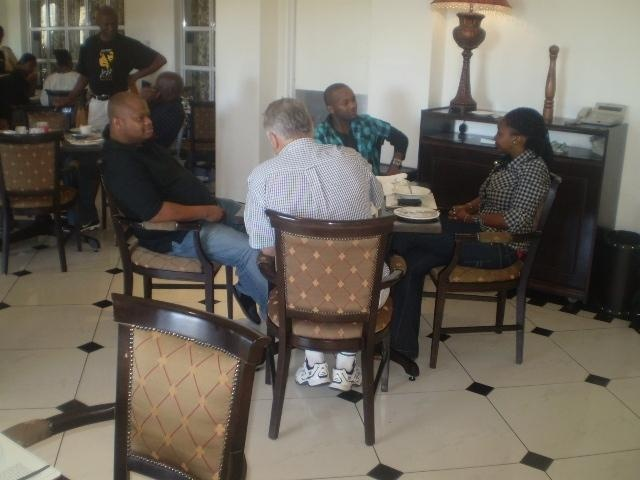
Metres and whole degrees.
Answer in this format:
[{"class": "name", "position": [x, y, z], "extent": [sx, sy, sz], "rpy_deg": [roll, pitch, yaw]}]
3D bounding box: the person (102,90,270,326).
[{"class": "person", "position": [-0.776, -0.182, 3.375], "extent": [0.913, 1.502, 0.671], "rpy_deg": [-2, 22, 10]}]

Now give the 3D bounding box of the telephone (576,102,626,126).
[{"class": "telephone", "position": [2.048, -0.903, 3.884], "extent": [0.252, 0.099, 0.264], "rpy_deg": [16, 40, 34]}]

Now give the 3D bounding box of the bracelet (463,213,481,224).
[{"class": "bracelet", "position": [0.888, -0.119, 3.114], "extent": [0.078, 0.053, 0.076], "rpy_deg": [2, -7, -43]}]

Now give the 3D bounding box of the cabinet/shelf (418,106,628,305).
[{"class": "cabinet/shelf", "position": [1.424, -0.199, 3.559], "extent": [1.198, 1.211, 0.454], "rpy_deg": [13, 24, 31]}]

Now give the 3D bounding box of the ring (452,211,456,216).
[{"class": "ring", "position": [0.783, -0.154, 3.129], "extent": [0.015, 0.021, 0.009], "rpy_deg": [3, 0, -22]}]

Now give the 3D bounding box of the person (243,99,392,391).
[{"class": "person", "position": [-0.026, 0.061, 2.806], "extent": [0.723, 1.551, 0.655], "rpy_deg": [11, 24, 38]}]

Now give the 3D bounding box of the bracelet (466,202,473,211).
[{"class": "bracelet", "position": [0.962, -0.217, 3.421], "extent": [0.055, 0.027, 0.063], "rpy_deg": [0, 16, 8]}]

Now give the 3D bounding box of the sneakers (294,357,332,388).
[{"class": "sneakers", "position": [-0.041, 0.715, 2.916], "extent": [0.095, 0.123, 0.255], "rpy_deg": [-2, 4, -19]}]

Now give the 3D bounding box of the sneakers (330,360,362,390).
[{"class": "sneakers", "position": [0.137, 0.737, 2.876], "extent": [0.091, 0.114, 0.241], "rpy_deg": [3, 8, 23]}]

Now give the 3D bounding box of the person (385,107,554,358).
[{"class": "person", "position": [0.882, -0.029, 3.335], "extent": [0.974, 1.597, 0.665], "rpy_deg": [5, 6, 3]}]

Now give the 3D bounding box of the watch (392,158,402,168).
[{"class": "watch", "position": [0.590, -0.591, 4.092], "extent": [0.063, 0.044, 0.065], "rpy_deg": [3, 13, 24]}]

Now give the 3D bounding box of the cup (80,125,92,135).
[{"class": "cup", "position": [-2.185, -1.029, 4.991], "extent": [0.098, 0.078, 0.074], "rpy_deg": [-15, 30, -38]}]
